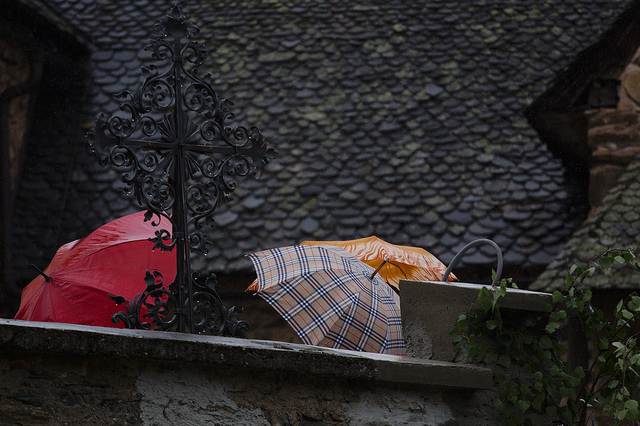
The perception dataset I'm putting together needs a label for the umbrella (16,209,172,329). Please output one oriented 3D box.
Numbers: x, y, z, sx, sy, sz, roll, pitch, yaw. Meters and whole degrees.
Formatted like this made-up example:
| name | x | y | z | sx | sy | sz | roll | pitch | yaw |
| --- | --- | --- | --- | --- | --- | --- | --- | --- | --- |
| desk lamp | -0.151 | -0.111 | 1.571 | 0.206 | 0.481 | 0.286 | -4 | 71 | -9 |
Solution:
| name | x | y | z | sx | sy | sz | roll | pitch | yaw |
| --- | --- | --- | --- | --- | --- | --- | --- | --- | --- |
| umbrella | -2.800 | 0.966 | 24.308 | 1.473 | 1.658 | 1.580 | 17 | 47 | -49 |
